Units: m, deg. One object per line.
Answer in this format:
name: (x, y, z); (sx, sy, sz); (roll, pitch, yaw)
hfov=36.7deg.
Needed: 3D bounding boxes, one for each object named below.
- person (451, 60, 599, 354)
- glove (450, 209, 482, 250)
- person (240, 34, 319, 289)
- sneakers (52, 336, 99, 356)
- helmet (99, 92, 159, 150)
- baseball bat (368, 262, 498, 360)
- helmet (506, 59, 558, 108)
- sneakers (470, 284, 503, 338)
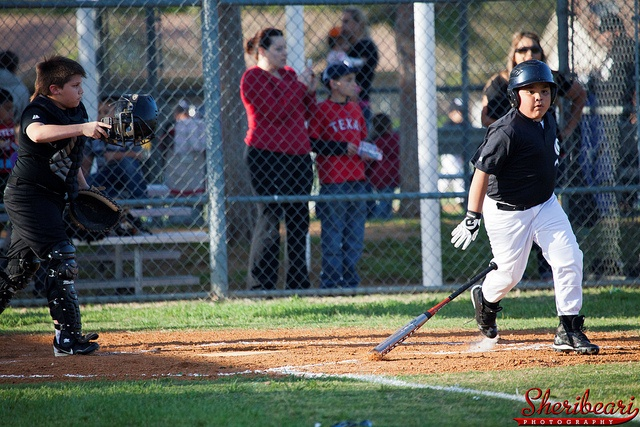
person: (1.896, -0.076, 8.892); (1.181, 2.616, 0.541); (2, 14, 15)
glove: (1.383, 0.158, 8.975); (0.246, 0.360, 0.112); (34, 31, 28)
person: (-0.441, -0.576, 10.452); (0.798, 2.803, 0.565); (-3, 13, -4)
sneakers: (-2.294, 1.249, 9.121); (0.444, 0.194, 0.161); (-2, 1, -5)
helmet: (-1.723, -0.853, 8.837); (0.529, 0.434, 0.408); (-9, 12, -28)
baseball bat: (1.155, 1.008, 9.749); (1.375, 0.170, 0.143); (-34, 34, -20)
helmet: (1.892, -1.181, 8.770); (0.411, 0.459, 0.438); (-3, 3, -17)
sneakers: (1.536, 0.934, 9.132); (0.190, 0.563, 0.254); (-10, 4, -31)
